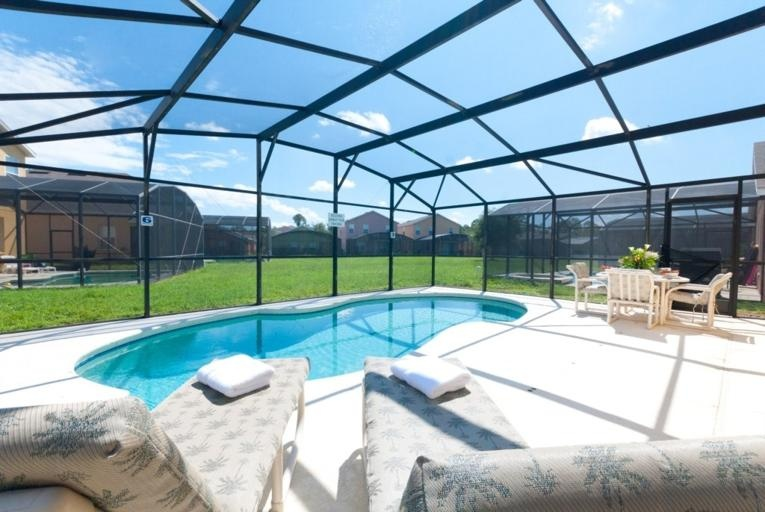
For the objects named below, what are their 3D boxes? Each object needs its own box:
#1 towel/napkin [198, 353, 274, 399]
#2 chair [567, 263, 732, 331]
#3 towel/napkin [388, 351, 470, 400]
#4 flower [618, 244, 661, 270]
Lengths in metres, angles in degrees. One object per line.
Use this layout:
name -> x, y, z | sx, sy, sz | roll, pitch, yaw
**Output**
towel/napkin -> -1.993, 1.551, 6.853 | 0.653, 0.216, 0.679 | 9, 9, 42
chair -> 5.691, 0.817, 10.742 | 2.882, 1.239, 1.608 | 0, 2, 15
towel/napkin -> 0.614, 1.639, 6.919 | 0.712, 0.225, 0.686 | -3, 6, -36
flower -> 5.807, 0.072, 11.152 | 0.749, 0.707, 0.747 | -1, -6, 11
